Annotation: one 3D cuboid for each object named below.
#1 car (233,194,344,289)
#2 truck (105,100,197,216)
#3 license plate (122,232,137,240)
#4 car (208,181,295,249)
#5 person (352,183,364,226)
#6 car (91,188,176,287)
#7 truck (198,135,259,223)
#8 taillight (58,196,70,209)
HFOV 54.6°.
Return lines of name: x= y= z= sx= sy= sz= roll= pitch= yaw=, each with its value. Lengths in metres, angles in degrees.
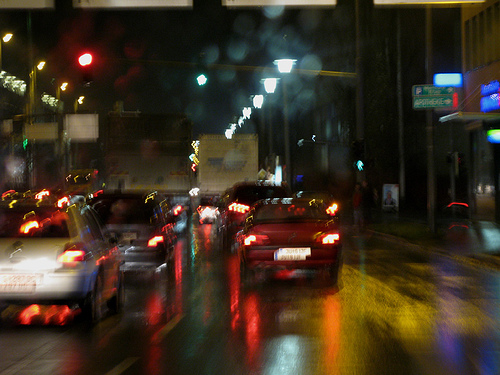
car: x=0.806 y=1.343 z=11.481 sx=1.276 sy=1.450 sz=2.979 roll=-1 pitch=4 yaw=-2
truck: x=-5.345 y=0.734 z=26.650 sx=4.259 sy=5.986 sz=9.488 roll=-2 pitch=-17 yaw=-11
license plate: x=-2.851 y=1.172 z=11.617 sx=0.296 sy=0.115 sz=0.108 roll=-5 pitch=3 yaw=-17
car: x=-0.281 y=0.871 z=18.315 sx=1.613 sy=1.910 sz=3.866 roll=0 pitch=2 yaw=-5
person: x=5.866 y=0.939 z=26.119 sx=0.567 sy=2.260 sz=1.498 roll=-2 pitch=2 yaw=14
car: x=-2.687 y=1.101 z=12.774 sx=1.214 sy=1.538 sz=2.897 roll=0 pitch=5 yaw=1
truck: x=-1.424 y=-1.327 z=31.019 sx=2.799 sy=4.267 sz=5.826 roll=0 pitch=-3 yaw=-3
taillight: x=-3.109 y=0.245 z=8.117 sx=0.186 sy=0.134 sz=0.338 roll=-4 pitch=3 yaw=-22
